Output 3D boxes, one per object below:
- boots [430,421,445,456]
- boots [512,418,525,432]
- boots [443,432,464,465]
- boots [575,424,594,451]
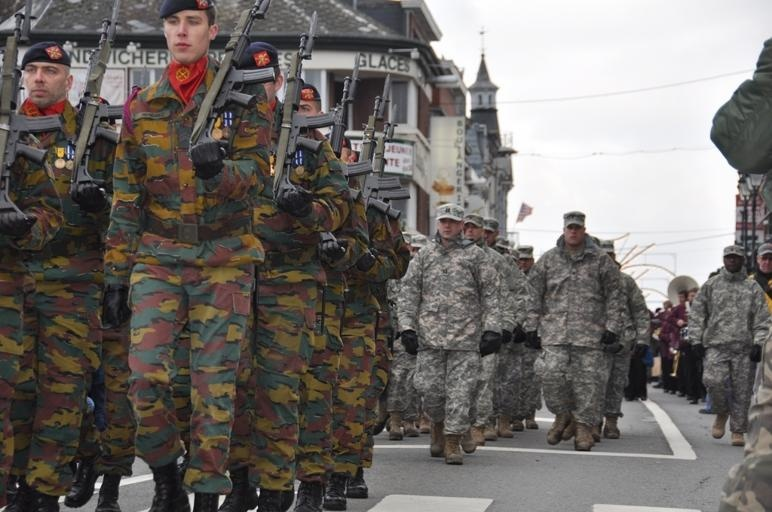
[{"bbox_3d":[0.579,1.923,12.502,0.164,0.307,0.493,0,18,9],"label":"boots"},{"bbox_3d":[1.845,2.283,15.736,0.219,0.180,0.202,-1,0,-5],"label":"boots"},{"bbox_3d":[0.710,1.959,11.809,0.183,0.298,0.255,2,-8,5],"label":"boots"},{"bbox_3d":[2.258,2.046,13.152,0.196,0.314,0.334,1,-8,9],"label":"boots"}]
